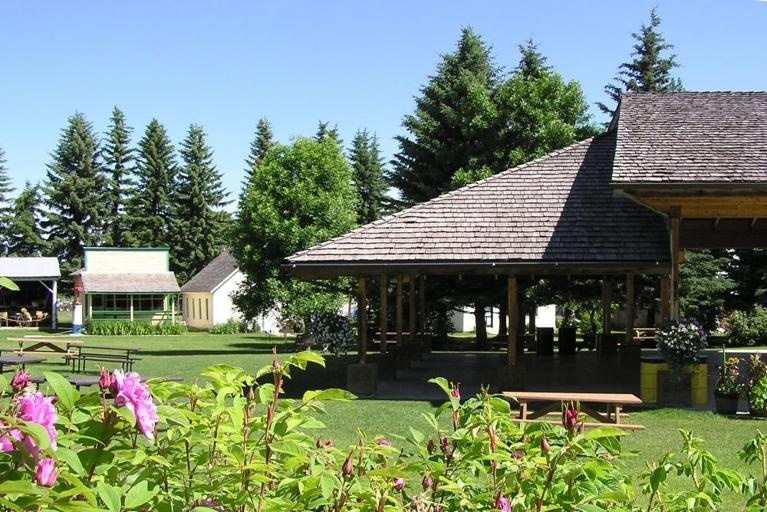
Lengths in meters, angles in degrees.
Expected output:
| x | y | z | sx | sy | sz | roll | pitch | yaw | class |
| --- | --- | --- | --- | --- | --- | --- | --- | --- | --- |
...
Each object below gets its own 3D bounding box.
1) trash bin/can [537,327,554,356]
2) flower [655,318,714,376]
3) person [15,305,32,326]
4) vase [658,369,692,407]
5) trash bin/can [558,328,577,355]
| x | y | z | sx | sy | sz | roll | pitch | yaw | class |
| --- | --- | --- | --- | --- | --- | --- | --- | --- | --- |
| 5.641 | 2.991 | 28.913 | 0.568 | 0.927 | 0.430 | 2 | -4 | 3 | trash bin/can |
| 6.911 | 2.145 | 19.484 | 1.170 | 1.192 | 1.086 | 2 | -25 | -12 | flower |
| -20.965 | 3.529 | 48.269 | 0.712 | 1.012 | 0.410 | 1 | 15 | 25 | person |
| 6.601 | 3.084 | 19.170 | 0.866 | 0.788 | 0.667 | 2 | -3 | -11 | vase |
| 6.447 | 2.997 | 29.031 | 0.552 | 0.961 | 0.932 | 2 | -4 | 10 | trash bin/can |
